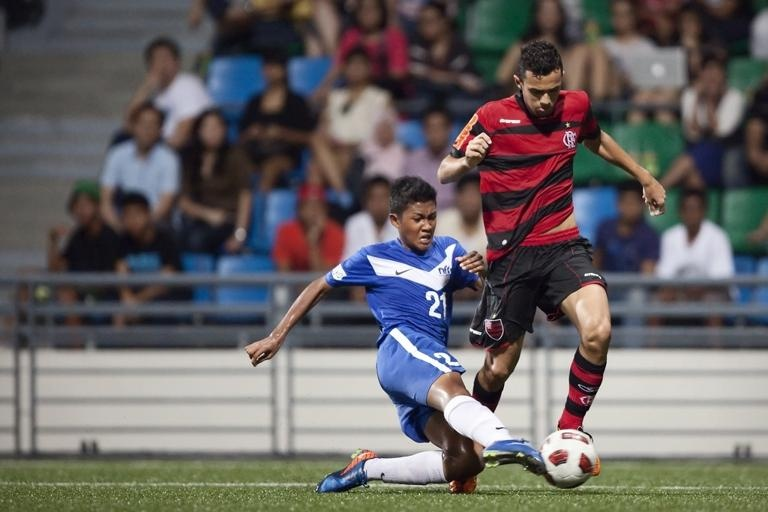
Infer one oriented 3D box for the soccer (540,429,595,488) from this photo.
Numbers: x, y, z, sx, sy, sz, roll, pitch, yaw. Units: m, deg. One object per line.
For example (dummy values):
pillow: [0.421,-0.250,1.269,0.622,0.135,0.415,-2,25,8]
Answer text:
soccer: [1.861,1.969,17.909,0.536,0.611,0.517,0,-38,8]
